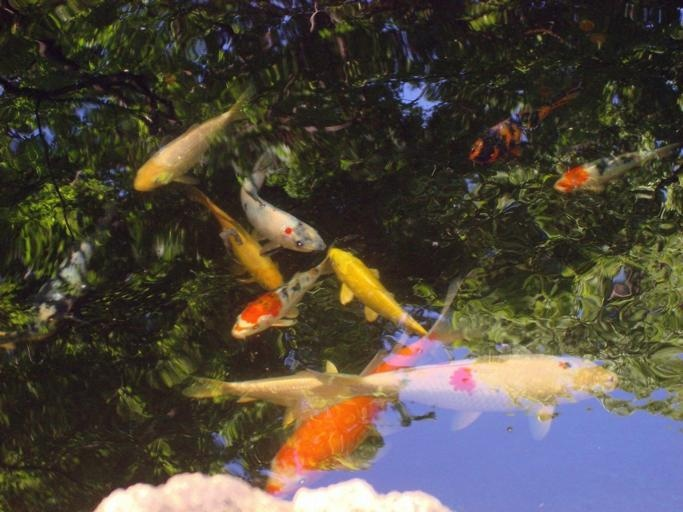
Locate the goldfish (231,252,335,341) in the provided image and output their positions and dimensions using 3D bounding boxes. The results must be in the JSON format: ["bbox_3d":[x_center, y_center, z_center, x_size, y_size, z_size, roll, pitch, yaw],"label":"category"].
[{"bbox_3d":[-0.361,0.278,5.611,0.897,0.323,0.295,-37,58,-20],"label":"goldfish"}]

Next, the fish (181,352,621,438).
[{"bbox_3d":[0.381,0.916,5.713,2.833,0.892,0.901,-2,0,3],"label":"fish"}]

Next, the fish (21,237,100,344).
[{"bbox_3d":[-1.901,0.244,5.492,0.255,0.148,0.637,20,72,52],"label":"fish"}]

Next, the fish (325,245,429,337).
[{"bbox_3d":[0.175,0.254,5.637,0.341,0.885,0.337,-37,-5,-14],"label":"fish"}]

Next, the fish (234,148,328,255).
[{"bbox_3d":[-0.450,-0.330,5.578,0.401,0.715,0.403,-23,18,-15],"label":"fish"}]

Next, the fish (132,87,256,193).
[{"bbox_3d":[-0.990,-0.774,5.621,1.092,0.281,0.379,-44,-17,-27],"label":"fish"}]

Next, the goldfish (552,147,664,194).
[{"bbox_3d":[1.864,-0.589,5.659,0.453,0.146,0.098,-19,53,-4],"label":"goldfish"}]
